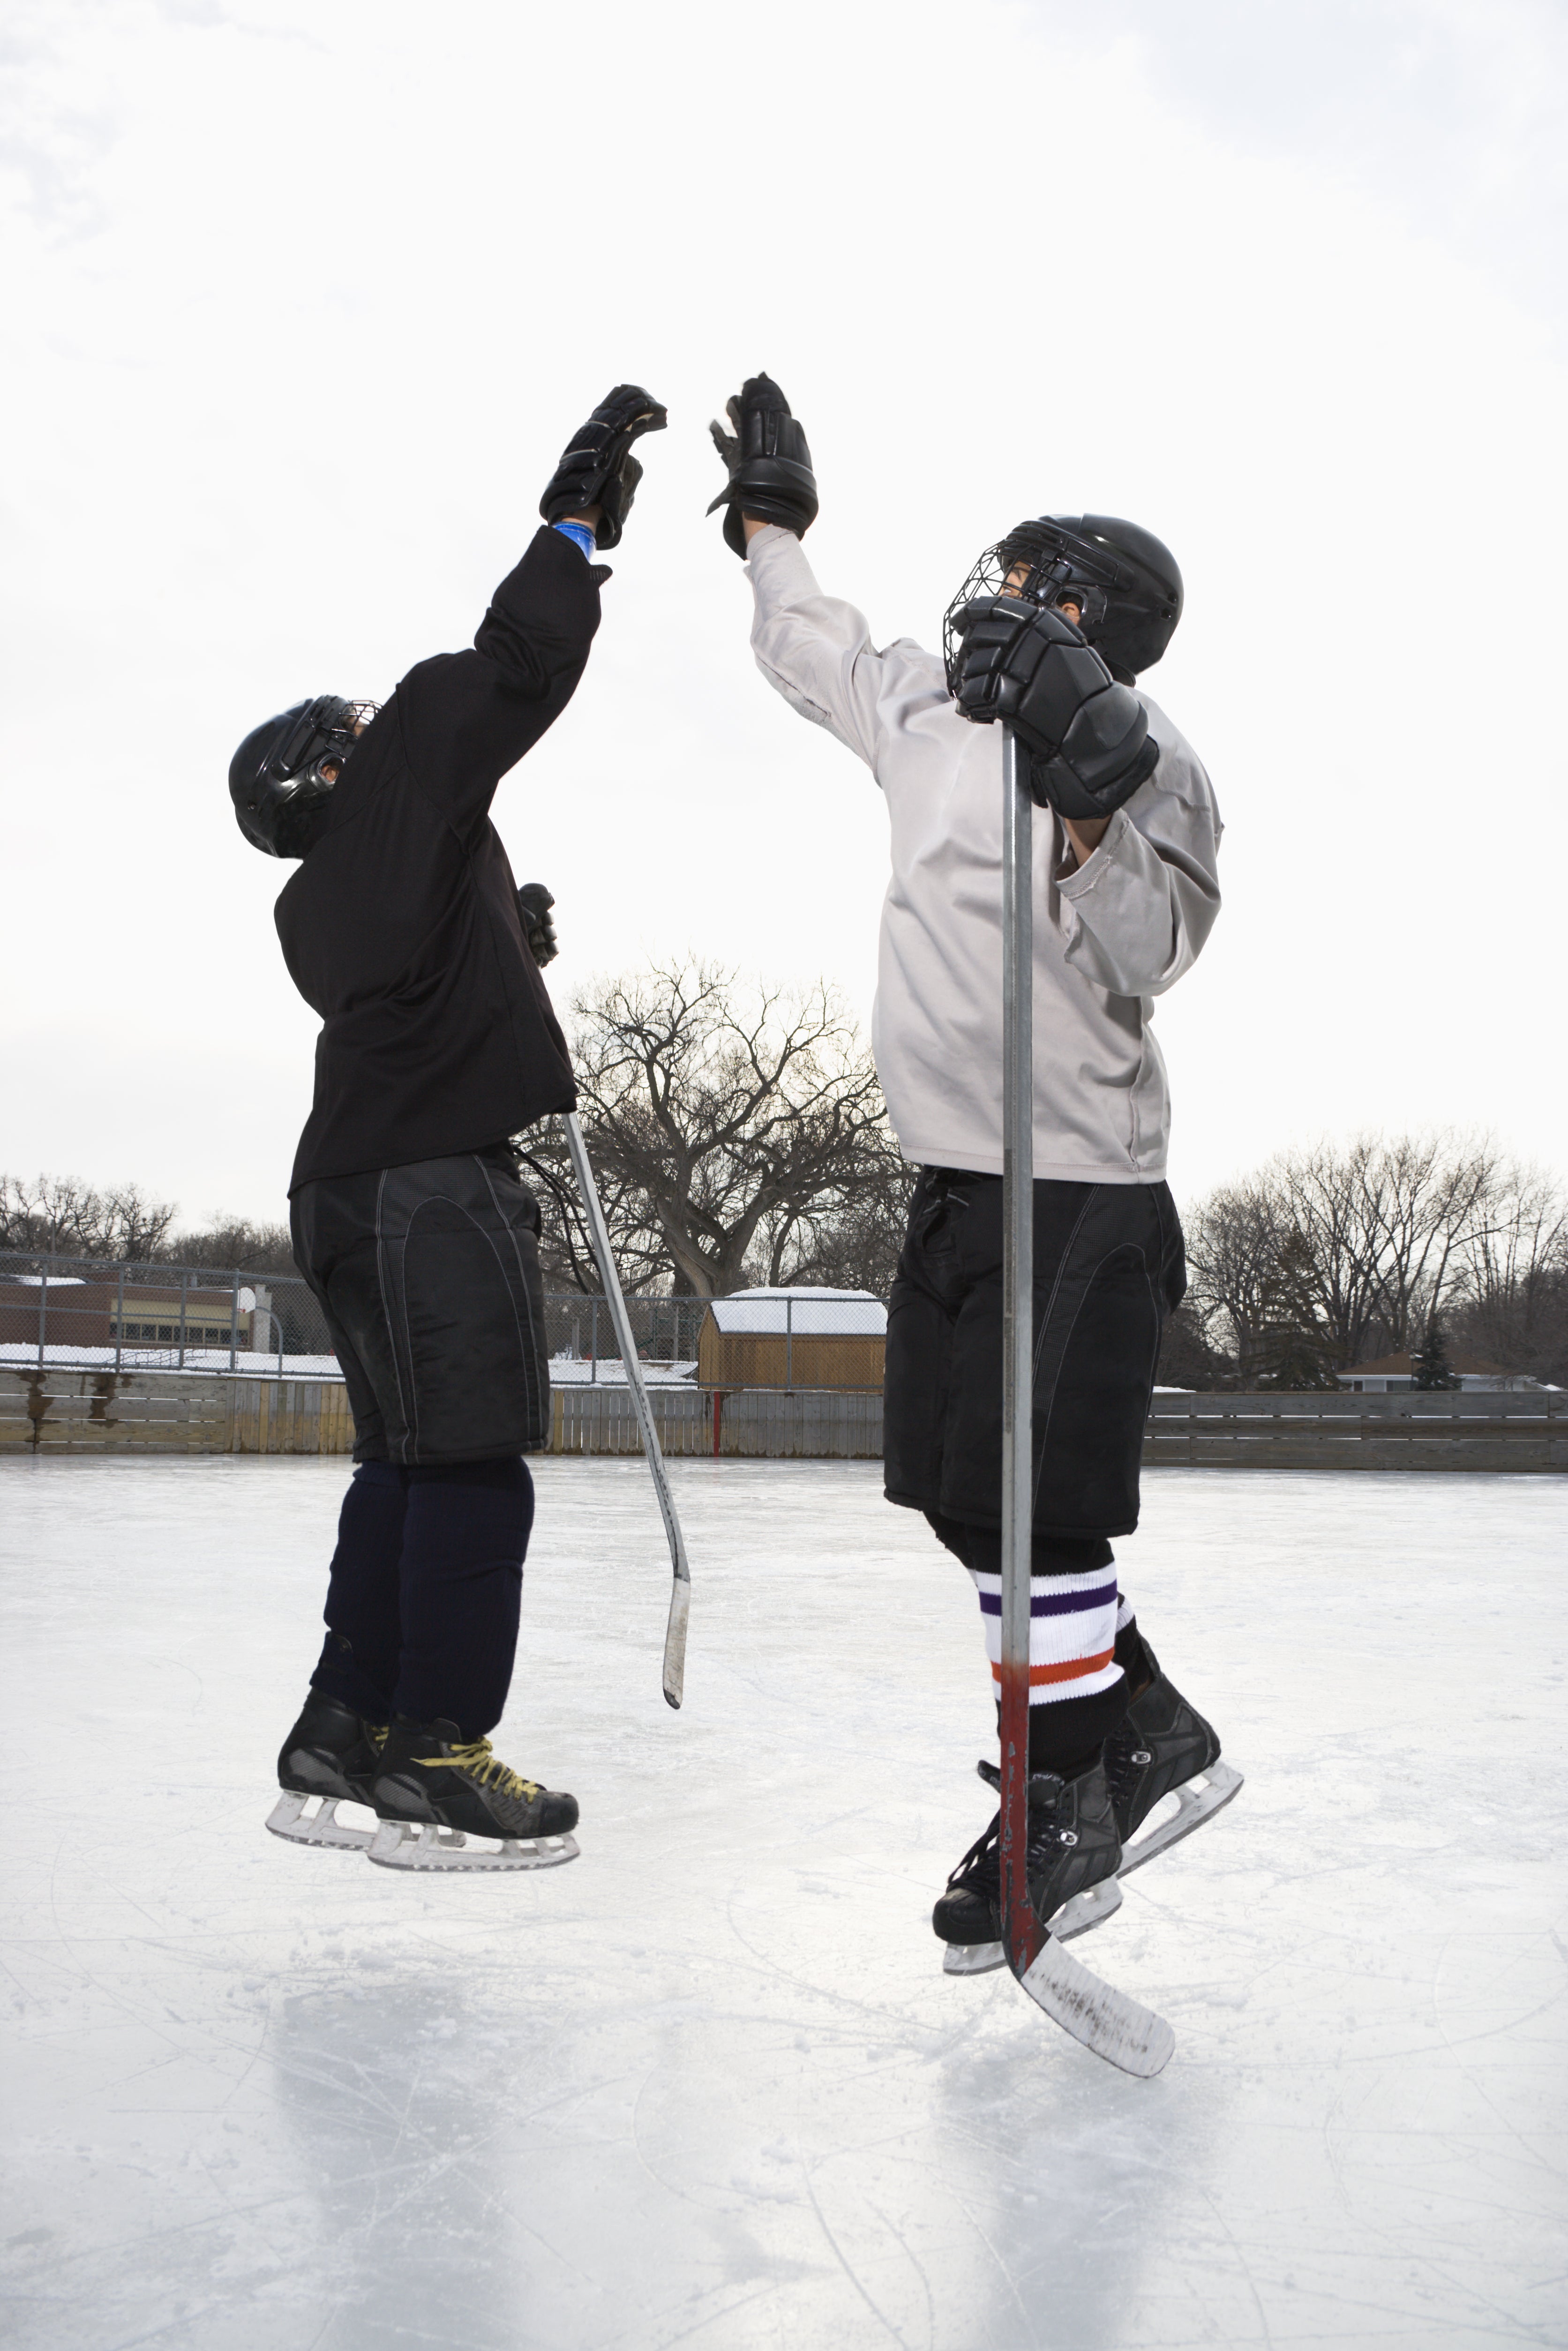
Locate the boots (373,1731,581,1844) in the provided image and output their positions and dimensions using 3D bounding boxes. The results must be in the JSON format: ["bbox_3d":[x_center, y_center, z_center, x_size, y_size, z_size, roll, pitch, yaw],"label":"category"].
[{"bbox_3d":[-0.340,0.666,3.432,0.233,0.109,0.093,4,-2,5],"label":"boots"}]

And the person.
[{"bbox_3d":[0.109,0.034,3.660,1.431,1.942,0.821,4,-10,-14],"label":"person"}]

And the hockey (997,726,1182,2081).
[{"bbox_3d":[0.242,0.174,2.689,0.113,1.083,0.381,0,-1,-4],"label":"hockey"}]
